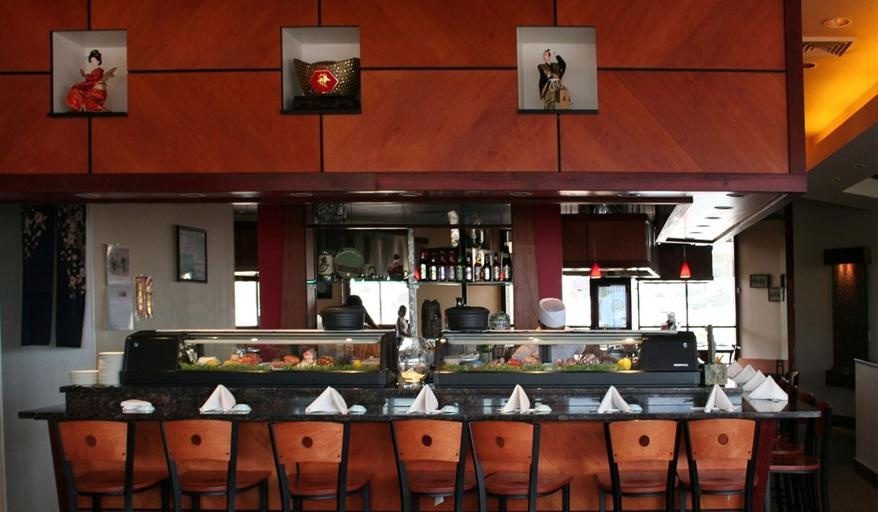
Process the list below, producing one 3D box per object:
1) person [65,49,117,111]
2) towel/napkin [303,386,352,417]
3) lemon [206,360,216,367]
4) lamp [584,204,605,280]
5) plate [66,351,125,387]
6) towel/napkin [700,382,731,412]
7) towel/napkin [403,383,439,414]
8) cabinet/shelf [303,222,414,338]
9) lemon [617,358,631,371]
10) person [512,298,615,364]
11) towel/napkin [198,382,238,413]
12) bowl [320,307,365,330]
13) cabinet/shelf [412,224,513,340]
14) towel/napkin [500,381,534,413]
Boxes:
[{"bbox_3d":[-3.841,-1.915,12.269,0.536,0.757,0.312,1,-4,-12],"label":"person"},{"bbox_3d":[-1.143,1.477,11.373,0.443,0.267,0.212,1,-5,-9],"label":"towel/napkin"},{"bbox_3d":[-2.398,1.137,11.773,0.071,0.044,0.073,2,3,42],"label":"lemon"},{"bbox_3d":[2.324,-0.179,16.494,0.233,1.053,1.188,0,-5,11],"label":"lamp"},{"bbox_3d":[-3.671,1.214,11.953,0.521,0.379,0.310,4,-6,-8],"label":"plate"},{"bbox_3d":[2.817,1.458,11.452,0.245,0.266,0.245,2,-15,-8],"label":"towel/napkin"},{"bbox_3d":[-0.179,1.431,11.373,0.257,0.335,0.269,-1,1,-19],"label":"towel/napkin"},{"bbox_3d":[-1.013,0.245,13.586,1.258,1.326,0.425,0,-2,-17],"label":"cabinet/shelf"},{"bbox_3d":[1.931,1.134,11.655,0.122,0.133,0.120,16,30,37],"label":"lemon"},{"bbox_3d":[1.199,0.829,11.731,1.266,0.654,0.352,0,0,0],"label":"person"},{"bbox_3d":[-2.303,1.482,11.462,0.284,0.313,0.279,4,-15,-8],"label":"towel/napkin"},{"bbox_3d":[-1.056,0.675,12.001,0.273,0.148,0.296,-1,-5,0],"label":"bowl"},{"bbox_3d":[0.282,0.288,13.929,1.121,2.226,0.689,2,-10,-1],"label":"cabinet/shelf"},{"bbox_3d":[0.781,1.443,11.325,0.235,0.334,0.289,3,-12,-10],"label":"towel/napkin"}]
